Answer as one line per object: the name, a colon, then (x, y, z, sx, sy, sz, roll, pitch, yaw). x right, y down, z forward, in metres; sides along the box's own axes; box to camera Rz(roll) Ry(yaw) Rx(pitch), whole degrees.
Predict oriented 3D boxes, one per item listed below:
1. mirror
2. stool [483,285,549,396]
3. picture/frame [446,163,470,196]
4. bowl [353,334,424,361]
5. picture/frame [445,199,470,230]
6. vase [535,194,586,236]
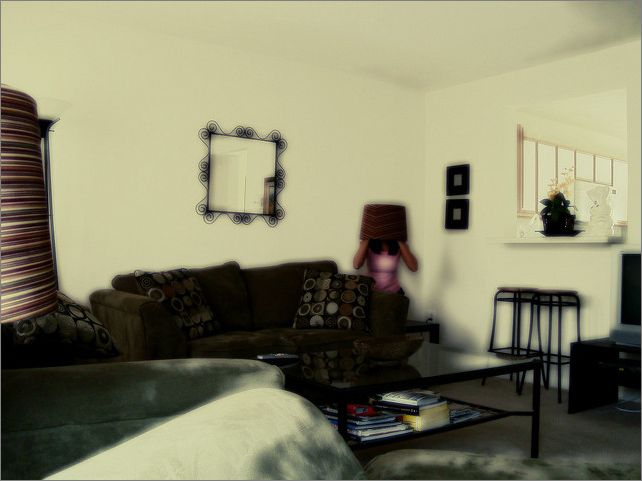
mirror: (-0.740, -0.599, 4.643, 1.107, 1.036, 0.050, 1, -2, -34)
stool: (1.811, 0.909, 4.862, 0.634, 0.983, 0.630, 13, 2, 36)
picture/frame: (1.452, -0.641, 5.484, 0.045, 0.407, 0.365, 6, -5, -39)
bowl: (0.371, 0.557, 2.728, 0.213, 0.061, 0.196, -1, -6, 0)
picture/frame: (1.416, -0.282, 5.480, 0.278, 0.281, 0.072, 1, -1, 42)
vase: (2.091, -0.203, 4.617, 0.375, 0.345, 0.358, -1, -6, 11)
